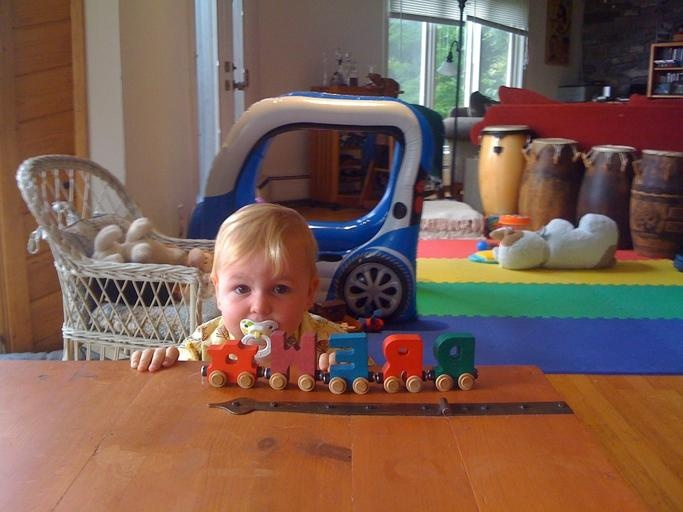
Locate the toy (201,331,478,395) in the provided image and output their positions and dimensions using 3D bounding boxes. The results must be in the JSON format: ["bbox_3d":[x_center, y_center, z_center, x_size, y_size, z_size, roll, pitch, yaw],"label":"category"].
[{"bbox_3d":[0.006,0.185,1.041,0.457,0.105,0.056,2,-14,-6],"label":"toy"}]

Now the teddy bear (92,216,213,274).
[{"bbox_3d":[-0.578,-0.059,1.788,0.295,0.102,0.191,5,8,23],"label":"teddy bear"}]

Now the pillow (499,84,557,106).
[{"bbox_3d":[1.368,-1.173,4.444,0.327,0.134,0.237,4,10,4],"label":"pillow"}]

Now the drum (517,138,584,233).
[{"bbox_3d":[1.354,-0.486,3.877,0.344,0.564,0.341,-5,25,2],"label":"drum"}]

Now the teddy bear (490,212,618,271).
[{"bbox_3d":[1.136,-0.050,3.200,0.550,0.228,0.319,-2,-4,1],"label":"teddy bear"}]

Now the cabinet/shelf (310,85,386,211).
[{"bbox_3d":[0.020,-0.910,5.375,0.463,0.734,0.417,-28,17,-35],"label":"cabinet/shelf"}]
